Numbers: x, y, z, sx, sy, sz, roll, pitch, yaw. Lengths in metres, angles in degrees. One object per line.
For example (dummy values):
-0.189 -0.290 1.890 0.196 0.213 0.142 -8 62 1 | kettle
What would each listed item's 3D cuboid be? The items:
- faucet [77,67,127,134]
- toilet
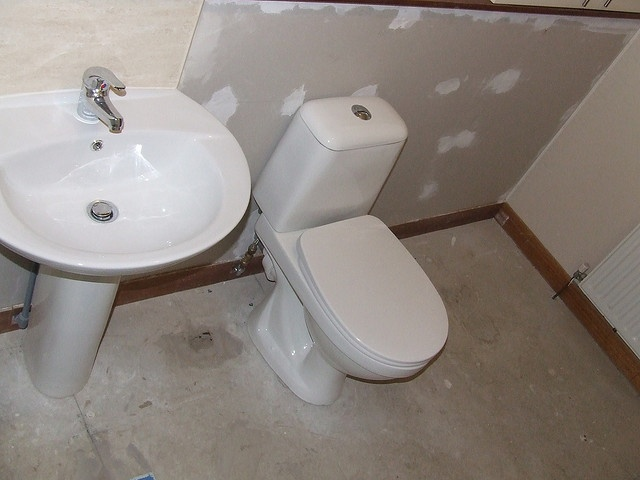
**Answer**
-0.490 -0.315 1.179 0.155 0.124 0.055 37 34 28 | faucet
0.076 0.115 1.696 0.532 0.829 0.700 -13 54 -22 | toilet
